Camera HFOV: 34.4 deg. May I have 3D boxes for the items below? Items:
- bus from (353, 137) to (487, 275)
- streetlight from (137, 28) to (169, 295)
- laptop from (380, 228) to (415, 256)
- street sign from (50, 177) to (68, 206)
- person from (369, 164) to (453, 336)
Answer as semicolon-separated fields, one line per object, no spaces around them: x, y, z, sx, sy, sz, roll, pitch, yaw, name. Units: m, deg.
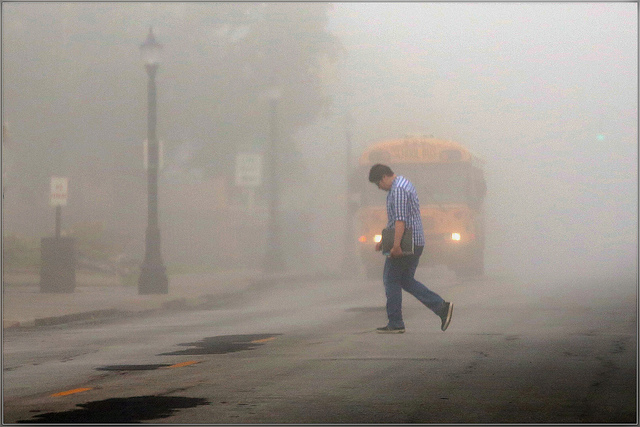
1.994;-0.232;18.905;1.911;1.761;3.040;-1;-3;10;bus
-2.963;-0.888;17.982;0.514;4.593;0.347;-3;-2;20;streetlight
1.062;0.404;14.453;0.570;0.381;0.087;-1;-7;-30;laptop
-4.488;-0.373;17.709;0.252;0.469;0.236;-1;-2;-21;street sign
1.258;0.511;14.612;1.025;2.454;0.655;-2;-2;4;person
